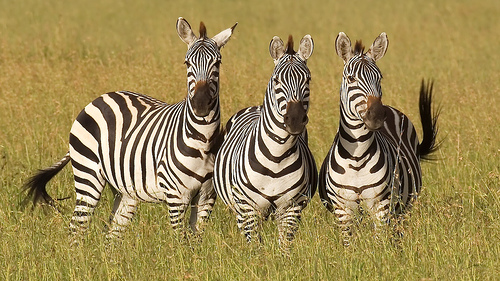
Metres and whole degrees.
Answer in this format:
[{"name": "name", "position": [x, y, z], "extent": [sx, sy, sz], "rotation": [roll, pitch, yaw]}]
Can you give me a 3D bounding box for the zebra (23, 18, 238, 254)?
[{"name": "zebra", "position": [-2.073, -0.053, 13.241], "extent": [3.051, 3.510, 1.873], "rotation": [-2, 27, 9]}]
